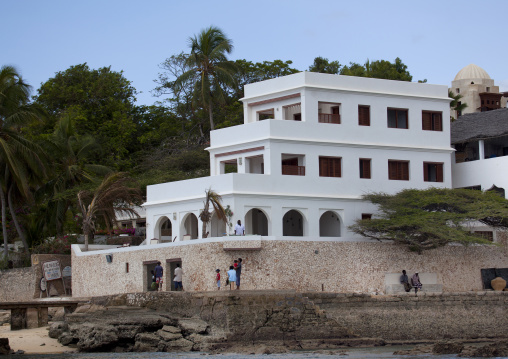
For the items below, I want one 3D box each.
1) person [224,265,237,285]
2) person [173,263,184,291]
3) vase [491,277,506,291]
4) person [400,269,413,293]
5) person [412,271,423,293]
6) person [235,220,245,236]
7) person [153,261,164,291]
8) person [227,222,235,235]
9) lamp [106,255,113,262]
[{"bbox_3d":[-1.389,5.863,58.569,0.605,1.105,0.985,0,-11,-3],"label":"person"},{"bbox_3d":[-4.811,6.188,60.649,0.629,1.821,1.476,1,-11,-6],"label":"person"},{"bbox_3d":[16.253,6.918,63.166,0.827,0.871,0.818,1,5,-5],"label":"vase"},{"bbox_3d":[9.884,6.567,62.049,0.712,1.504,1.207,-1,-11,7],"label":"person"},{"bbox_3d":[10.599,6.640,62.063,0.668,1.346,1.281,-2,-11,9],"label":"person"},{"bbox_3d":[-0.931,3.119,61.129,0.687,1.311,0.842,-1,-23,-2],"label":"person"},{"bbox_3d":[-6.059,6.136,60.632,0.511,1.869,0.888,1,-11,-6],"label":"person"},{"bbox_3d":[-1.473,3.179,61.954,0.520,1.012,1.422,0,-11,-2],"label":"person"},{"bbox_3d":[-9.642,5.286,63.605,0.428,0.553,0.293,-7,-13,32],"label":"lamp"}]
